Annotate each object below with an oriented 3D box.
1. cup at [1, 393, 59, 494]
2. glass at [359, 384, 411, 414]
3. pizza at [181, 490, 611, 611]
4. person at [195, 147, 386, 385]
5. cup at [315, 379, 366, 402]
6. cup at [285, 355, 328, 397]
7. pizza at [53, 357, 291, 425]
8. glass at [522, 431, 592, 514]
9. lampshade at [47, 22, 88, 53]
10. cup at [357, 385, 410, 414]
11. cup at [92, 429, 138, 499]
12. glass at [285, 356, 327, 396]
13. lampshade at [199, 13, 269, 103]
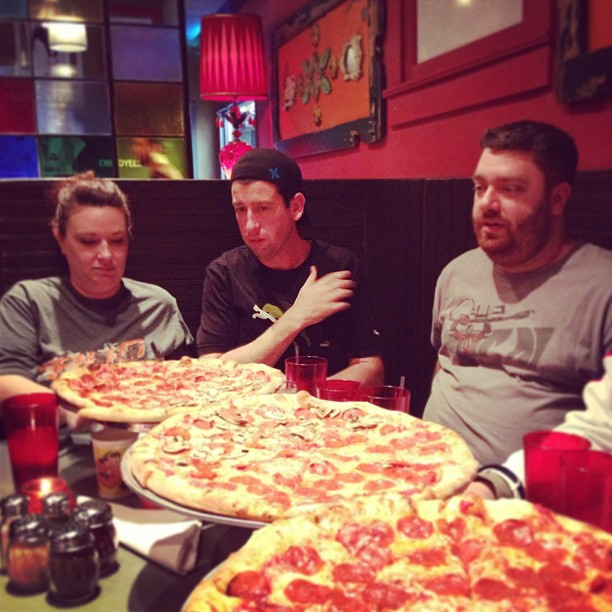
[{"bbox_3d":[-0.567,0.274,1.150,0.098,0.189,0.172,-6,11,-24],"label":"cup"},{"bbox_3d":[0.191,0.215,1.316,0.071,0.079,0.083,1,-6,6],"label":"glass"},{"bbox_3d":[0.132,0.322,0.714,0.527,0.064,0.234,-1,10,1],"label":"pizza"},{"bbox_3d":[-0.064,-0.096,2.177,0.830,0.999,0.670,-4,12,-4],"label":"person"},{"bbox_3d":[0.085,0.196,1.313,0.057,0.050,0.071,-1,-7,15],"label":"cup"},{"bbox_3d":[-0.007,0.168,1.419,0.096,0.107,0.099,1,10,0],"label":"cup"},{"bbox_3d":[-0.366,0.212,1.433,0.268,0.043,0.306,6,6,38],"label":"pizza"},{"bbox_3d":[0.384,0.253,0.880,0.103,0.126,0.130,3,8,12],"label":"glass"},{"bbox_3d":[-1.522,-1.704,3.520,0.199,0.140,0.198,-2,6,-21],"label":"lampshade"},{"bbox_3d":[0.194,0.215,1.303,0.073,0.085,0.084,0,-8,-1],"label":"cup"},{"bbox_3d":[-0.375,0.326,1.115,0.098,0.107,0.101,2,-8,0],"label":"cup"},{"bbox_3d":[-0.010,0.180,1.440,0.098,0.108,0.096,4,-4,-20],"label":"glass"},{"bbox_3d":[-0.342,-1.268,2.947,0.405,0.437,0.400,12,18,32],"label":"lampshade"}]
